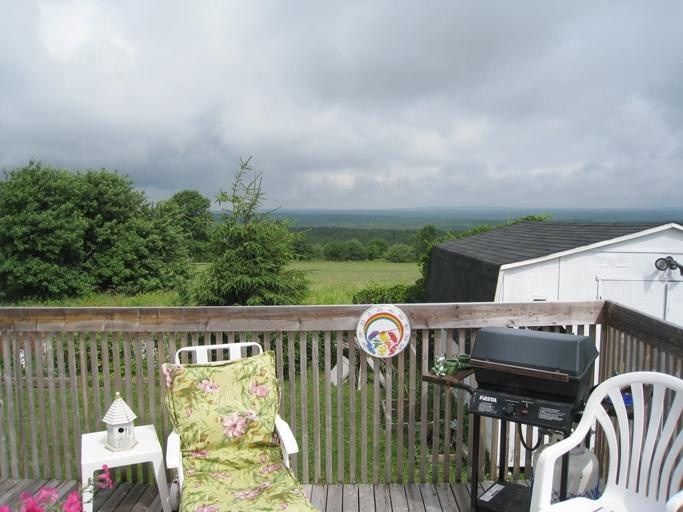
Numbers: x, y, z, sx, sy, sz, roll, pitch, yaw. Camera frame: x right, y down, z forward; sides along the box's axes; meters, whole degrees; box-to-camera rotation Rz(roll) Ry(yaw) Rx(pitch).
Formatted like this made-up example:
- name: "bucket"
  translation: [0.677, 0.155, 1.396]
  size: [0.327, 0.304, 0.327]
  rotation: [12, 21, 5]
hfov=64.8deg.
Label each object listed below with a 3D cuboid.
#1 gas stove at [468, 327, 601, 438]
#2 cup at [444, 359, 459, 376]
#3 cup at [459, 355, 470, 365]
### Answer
- name: "gas stove"
  translation: [1.363, 0.824, 3.819]
  size: [0.762, 0.583, 0.602]
  rotation: [1, 2, 41]
- name: "cup"
  translation: [0.852, 0.857, 4.169]
  size: [0.090, 0.095, 0.120]
  rotation: [2, -7, -6]
- name: "cup"
  translation: [0.960, 0.808, 4.223]
  size: [0.083, 0.068, 0.127]
  rotation: [2, 1, 10]
